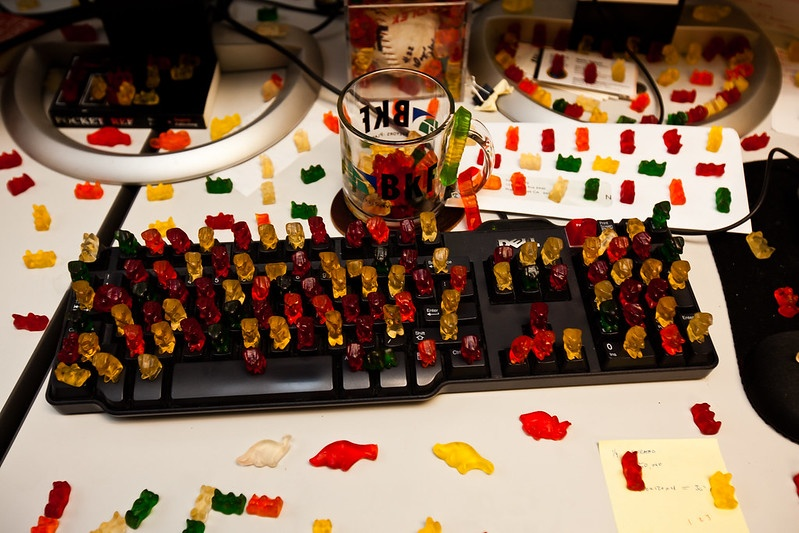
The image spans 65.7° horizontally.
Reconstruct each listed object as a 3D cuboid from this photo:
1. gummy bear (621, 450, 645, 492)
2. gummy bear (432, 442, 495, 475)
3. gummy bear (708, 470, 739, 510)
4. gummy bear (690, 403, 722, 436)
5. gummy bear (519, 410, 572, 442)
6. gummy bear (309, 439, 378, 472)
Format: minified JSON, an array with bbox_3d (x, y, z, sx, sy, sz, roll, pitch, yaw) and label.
[{"bbox_3d":[0.345,0.304,0.918,0.029,0.034,0.043,-5,31,-1],"label":"gummy bear"},{"bbox_3d":[0.092,0.284,0.925,0.072,0.018,0.046,18,53,12],"label":"gummy bear"},{"bbox_3d":[0.473,0.327,0.907,0.037,0.032,0.043,-1,31,5],"label":"gummy bear"},{"bbox_3d":[0.471,0.233,0.951,0.041,0.029,0.039,-5,31,-1],"label":"gummy bear"},{"bbox_3d":[0.221,0.243,0.942,0.055,0.018,0.043,8,49,7],"label":"gummy bear"},{"bbox_3d":[-0.085,0.280,0.923,0.086,0.029,0.047,1,58,-3],"label":"gummy bear"}]
